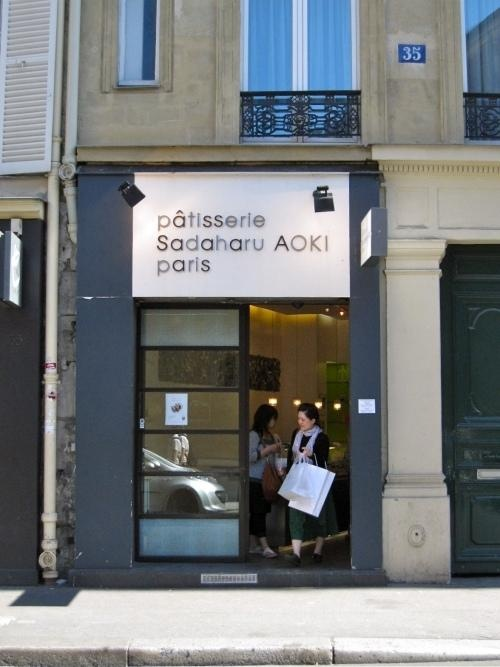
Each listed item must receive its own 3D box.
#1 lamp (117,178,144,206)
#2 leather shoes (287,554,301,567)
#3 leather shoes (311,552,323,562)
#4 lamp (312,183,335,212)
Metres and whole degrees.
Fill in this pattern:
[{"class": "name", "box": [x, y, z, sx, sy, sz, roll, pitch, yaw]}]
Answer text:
[{"class": "lamp", "box": [-1.154, -1.346, 13.226, 0.140, 0.195, 0.107, -40, 14, 4]}, {"class": "leather shoes", "box": [0.431, 2.136, 13.118, 0.106, 0.118, 0.223, 0, -4, 7]}, {"class": "leather shoes", "box": [0.663, 2.150, 13.396, 0.090, 0.115, 0.271, 1, -1, 8]}, {"class": "lamp", "box": [0.720, -1.293, 13.187, 0.188, 0.277, 0.138, -5, 24, 7]}]
